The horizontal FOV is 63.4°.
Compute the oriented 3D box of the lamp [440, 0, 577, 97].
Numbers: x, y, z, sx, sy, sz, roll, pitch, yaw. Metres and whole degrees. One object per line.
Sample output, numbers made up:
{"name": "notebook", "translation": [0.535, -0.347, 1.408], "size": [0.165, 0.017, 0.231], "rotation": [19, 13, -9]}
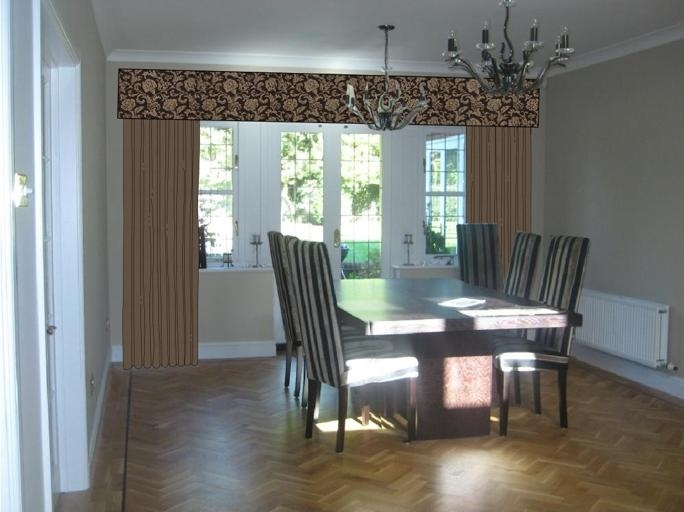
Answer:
{"name": "lamp", "translation": [1.334, -1.729, 4.545], "size": [0.993, 0.773, 1.033], "rotation": [1, 0, 6]}

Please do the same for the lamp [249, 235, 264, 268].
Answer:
{"name": "lamp", "translation": [-0.939, -0.069, 6.031], "size": [0.132, 0.352, 0.269], "rotation": [-1, 7, -9]}

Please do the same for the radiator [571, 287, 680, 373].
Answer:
{"name": "radiator", "translation": [2.684, 0.719, 5.315], "size": [0.945, 0.547, 0.135], "rotation": [11, -9, -17]}
